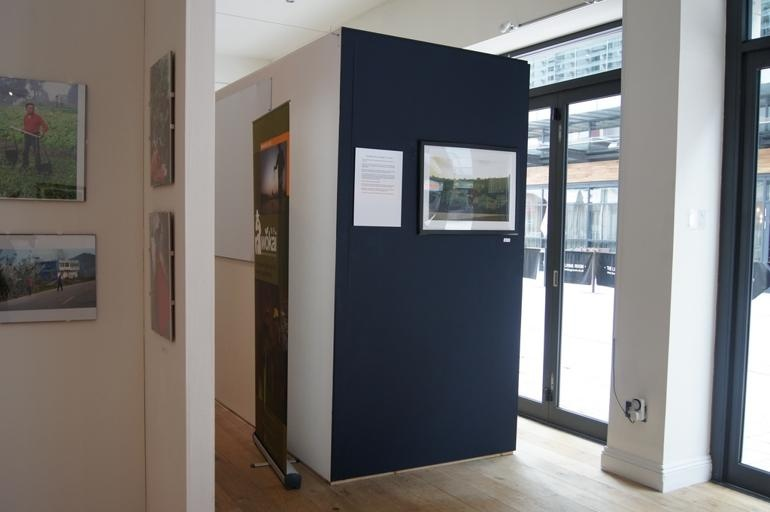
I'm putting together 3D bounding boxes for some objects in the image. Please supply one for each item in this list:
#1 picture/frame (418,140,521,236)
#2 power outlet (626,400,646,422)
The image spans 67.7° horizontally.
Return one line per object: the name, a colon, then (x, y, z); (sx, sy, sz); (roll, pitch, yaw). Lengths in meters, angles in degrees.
picture/frame: (0.667, -0.581, 4.842); (0.748, 0.625, 0.034); (0, 1, -23)
power outlet: (2.058, 1.274, 4.703); (0.090, 0.187, 0.170); (3, -4, -31)
